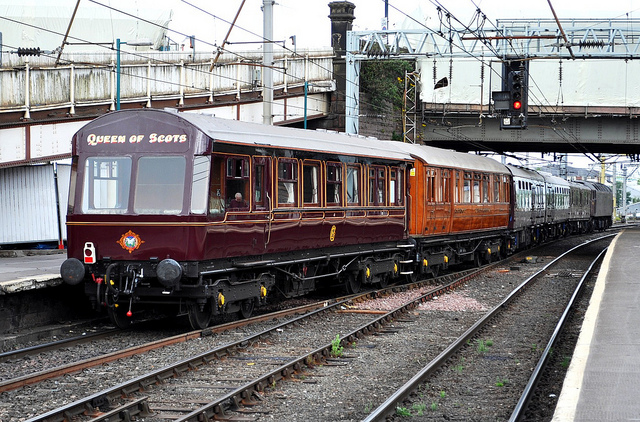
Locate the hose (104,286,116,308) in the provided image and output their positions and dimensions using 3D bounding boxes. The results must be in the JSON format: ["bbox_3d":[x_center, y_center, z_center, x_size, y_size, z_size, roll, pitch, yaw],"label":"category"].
[{"bbox_3d":[-4.372,1.802,11.962,0.085,0.338,0.340,2,1,17],"label":"hose"}]

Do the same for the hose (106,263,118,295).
[{"bbox_3d":[-4.235,1.391,11.844,0.234,0.639,0.086,-3,3,-24],"label":"hose"}]

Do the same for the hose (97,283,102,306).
[{"bbox_3d":[-4.540,1.718,11.945,0.080,0.478,0.149,-3,3,-19],"label":"hose"}]
